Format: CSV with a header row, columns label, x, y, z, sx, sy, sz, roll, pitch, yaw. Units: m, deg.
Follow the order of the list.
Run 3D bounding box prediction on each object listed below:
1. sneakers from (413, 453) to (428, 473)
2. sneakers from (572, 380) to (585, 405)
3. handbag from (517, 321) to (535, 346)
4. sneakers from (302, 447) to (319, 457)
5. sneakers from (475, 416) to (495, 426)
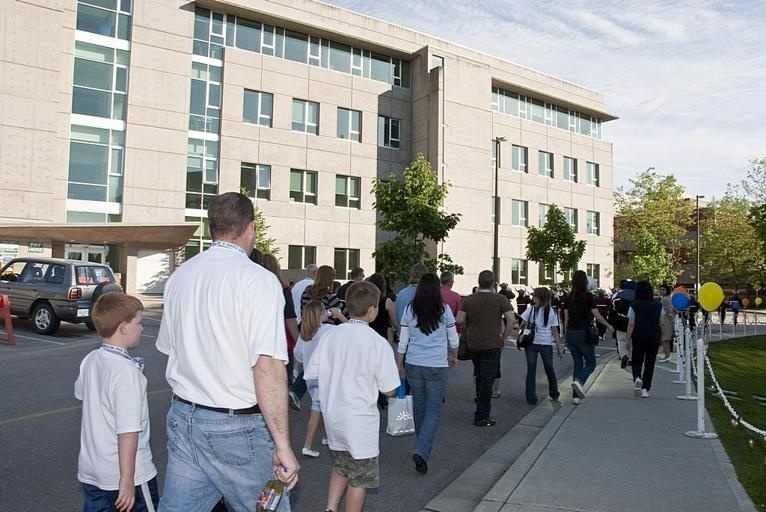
label,x,y,z,sx,sy,sz,roll,pitch,yaw
sneakers,0.598,3.204,10.806,0.232,0.316,0.281,1,-1,5
sneakers,4.006,2.767,14.153,0.214,0.563,0.193,-24,19,-29
handbag,3.079,1.660,14.737,0.280,0.507,0.678,16,10,7
sneakers,-1.161,3.160,11.202,0.236,0.099,0.136,6,9,-3
sneakers,1.964,3.090,13.000,0.442,0.206,0.148,5,-7,-28
